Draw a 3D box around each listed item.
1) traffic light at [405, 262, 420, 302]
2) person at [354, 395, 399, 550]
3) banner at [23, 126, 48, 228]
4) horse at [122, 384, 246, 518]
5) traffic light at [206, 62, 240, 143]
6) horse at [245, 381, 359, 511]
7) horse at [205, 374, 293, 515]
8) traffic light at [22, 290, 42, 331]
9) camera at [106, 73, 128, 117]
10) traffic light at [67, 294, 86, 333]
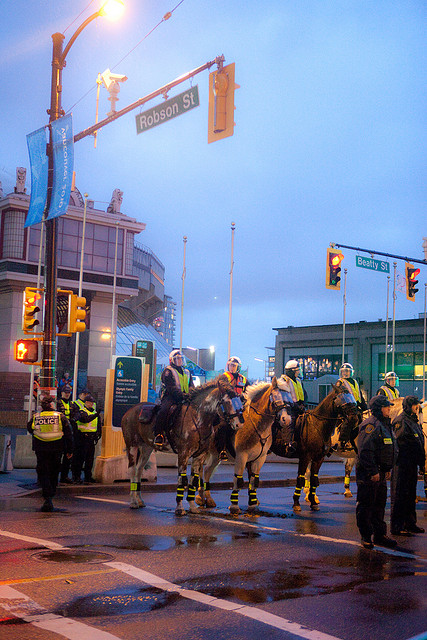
[{"bbox_3d":[8.779,-1.705,33.197,0.521,1.696,0.766,0,-4,17],"label":"traffic light"},{"bbox_3d":[2.190,2.059,10.205,0.475,2.014,0.673,-2,-5,38],"label":"person"},{"bbox_3d":[-3.885,-3.113,16.464,0.084,2.027,0.624,22,30,29],"label":"banner"},{"bbox_3d":[-0.632,2.277,13.302,2.734,2.209,0.767,-6,-11,36],"label":"horse"},{"bbox_3d":[0.149,-3.927,13.560,0.482,1.501,0.878,1,-4,-4],"label":"traffic light"},{"bbox_3d":[1.863,2.136,14.206,1.561,2.605,1.692,-1,1,-34],"label":"horse"},{"bbox_3d":[0.491,2.392,14.090,0.868,2.375,3.042,13,-18,-27],"label":"horse"},{"bbox_3d":[-3.886,-0.191,15.981,0.338,0.869,1.169,2,-4,-14],"label":"traffic light"},{"bbox_3d":[-2.220,-5.052,16.566,0.430,0.844,0.400,6,-4,-38],"label":"camera"},{"bbox_3d":[-2.968,-0.123,16.188,0.354,0.833,0.743,2,-4,-12],"label":"traffic light"}]
